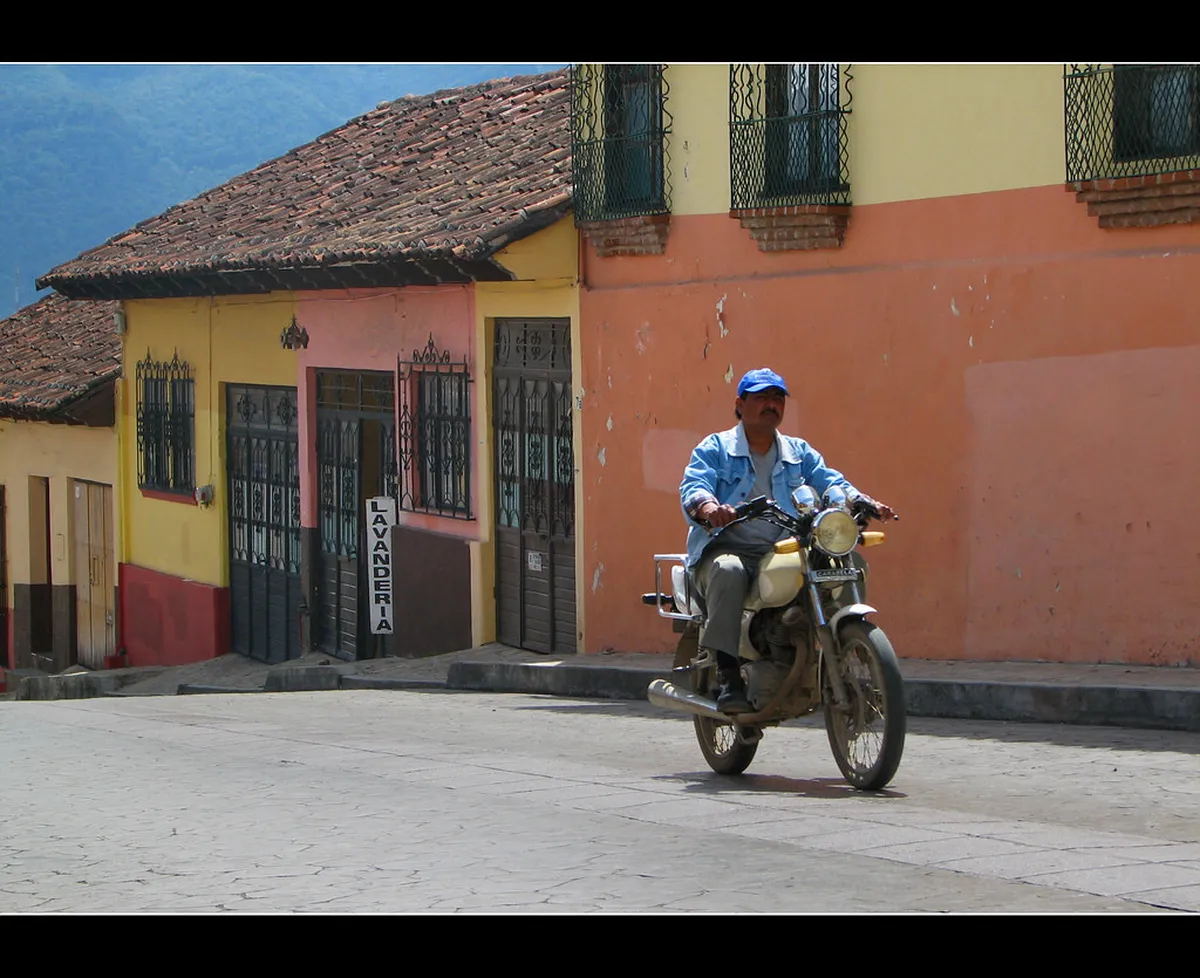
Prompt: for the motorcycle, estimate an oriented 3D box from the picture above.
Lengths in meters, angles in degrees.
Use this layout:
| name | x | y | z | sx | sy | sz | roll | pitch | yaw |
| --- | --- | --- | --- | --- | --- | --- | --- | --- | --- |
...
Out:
| name | x | y | z | sx | sy | sz | roll | pitch | yaw |
| --- | --- | --- | --- | --- | --- | --- | --- | --- | --- |
| motorcycle | 1.030 | 0.838 | 12.135 | 0.600 | 1.679 | 1.629 | 2 | -5 | -42 |
